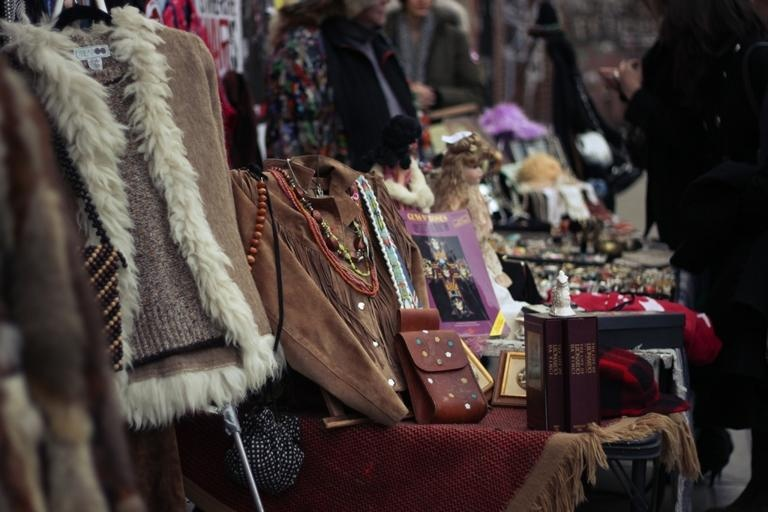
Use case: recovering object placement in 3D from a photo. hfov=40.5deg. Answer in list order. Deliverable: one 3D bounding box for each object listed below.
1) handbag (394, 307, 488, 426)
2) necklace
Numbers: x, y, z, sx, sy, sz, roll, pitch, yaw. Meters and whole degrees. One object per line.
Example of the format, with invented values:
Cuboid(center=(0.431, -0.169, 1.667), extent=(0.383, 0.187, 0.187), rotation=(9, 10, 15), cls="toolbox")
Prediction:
Cuboid(center=(0.180, 0.380, 3.519), extent=(0.224, 0.437, 0.142), rotation=(-3, -29, -29), cls="handbag")
Cuboid(center=(-0.138, -0.015, 3.667), extent=(0.428, 0.560, 0.129), rotation=(-2, -31, -48), cls="necklace")
